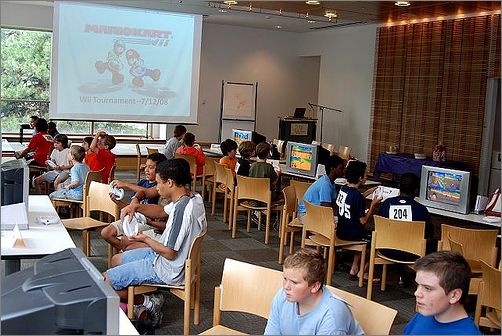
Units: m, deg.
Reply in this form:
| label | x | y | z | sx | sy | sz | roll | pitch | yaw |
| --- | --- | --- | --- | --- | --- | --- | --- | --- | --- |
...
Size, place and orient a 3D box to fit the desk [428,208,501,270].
| label | x | y | z | sx | sy | sz | roll | pitch | yaw |
| --- | --- | --- | --- | --- | --- | --- | --- | --- | --- |
| desk | 2.153 | 0.685 | 3.553 | 0.445 | 0.696 | 0.500 | 8 | 20 | 37 |

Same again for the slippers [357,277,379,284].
| label | x | y | z | sx | sy | sz | roll | pitch | yaw |
| --- | --- | --- | --- | --- | --- | --- | --- | --- | --- |
| slippers | 1.446 | 1.365 | 4.408 | 0.245 | 0.074 | 0.098 | 0 | 0 | 16 |

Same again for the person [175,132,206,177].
| label | x | y | z | sx | sy | sz | roll | pitch | yaw |
| --- | --- | --- | --- | --- | --- | --- | --- | --- | --- |
| person | -1.264 | -0.311 | 7.599 | 0.609 | 0.909 | 0.599 | -6 | 23 | -10 |

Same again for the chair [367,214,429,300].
| label | x | y | z | sx | sy | sz | roll | pitch | yaw |
| --- | --- | --- | --- | --- | --- | --- | --- | --- | --- |
| chair | 1.400 | 0.901 | 3.587 | 0.637 | 0.804 | 0.621 | 14 | -13 | -20 |

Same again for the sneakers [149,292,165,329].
| label | x | y | z | sx | sy | sz | roll | pitch | yaw |
| --- | --- | --- | --- | --- | --- | --- | --- | --- | --- |
| sneakers | -0.839 | 1.254 | 3.184 | 0.102 | 0.310 | 0.137 | 1 | 10 | 16 |

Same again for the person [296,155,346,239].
| label | x | y | z | sx | sy | sz | roll | pitch | yaw |
| --- | --- | --- | --- | --- | --- | --- | --- | --- | --- |
| person | 0.999 | 0.296 | 4.694 | 0.632 | 0.927 | 0.523 | 4 | 7 | -3 |

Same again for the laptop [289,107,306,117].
| label | x | y | z | sx | sy | sz | roll | pitch | yaw |
| --- | --- | --- | --- | --- | --- | --- | --- | --- | --- |
| laptop | 1.523 | -1.905 | 11.963 | 0.589 | 0.384 | 0.142 | -2 | 17 | -32 |

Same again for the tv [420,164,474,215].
| label | x | y | z | sx | sy | sz | roll | pitch | yaw |
| --- | --- | --- | --- | --- | --- | --- | --- | --- | --- |
| tv | 2.567 | 0.307 | 4.719 | 0.276 | 0.447 | 0.503 | -11 | 19 | -44 |

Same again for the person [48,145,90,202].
| label | x | y | z | sx | sy | sz | roll | pitch | yaw |
| --- | --- | --- | --- | --- | --- | --- | --- | --- | --- |
| person | -2.741 | 0.215 | 5.388 | 0.626 | 1.079 | 0.468 | 1 | 10 | -5 |

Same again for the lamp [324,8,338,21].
| label | x | y | z | sx | sy | sz | roll | pitch | yaw |
| --- | --- | --- | --- | --- | --- | --- | --- | --- | --- |
| lamp | 2.121 | -4.047 | 9.485 | 0.434 | 0.164 | 0.432 | 0 | 0 | -17 |

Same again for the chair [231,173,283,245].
| label | x | y | z | sx | sy | sz | roll | pitch | yaw |
| --- | --- | --- | --- | --- | --- | --- | --- | --- | --- |
| chair | 0.141 | 0.639 | 5.850 | 0.774 | 1.029 | 0.779 | 4 | 4 | 9 |

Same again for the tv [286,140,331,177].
| label | x | y | z | sx | sy | sz | roll | pitch | yaw |
| --- | --- | --- | --- | --- | --- | --- | --- | --- | --- |
| tv | 1.168 | -0.163 | 6.898 | 0.745 | 0.592 | 0.733 | 0 | 7 | -45 |

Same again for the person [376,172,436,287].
| label | x | y | z | sx | sy | sz | roll | pitch | yaw |
| --- | --- | --- | --- | --- | --- | --- | --- | --- | --- |
| person | 1.812 | 0.649 | 4.245 | 0.613 | 1.239 | 0.631 | 3 | 18 | 21 |

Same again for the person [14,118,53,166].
| label | x | y | z | sx | sy | sz | roll | pitch | yaw |
| --- | --- | --- | --- | --- | --- | --- | --- | --- | --- |
| person | -4.590 | -0.547 | 7.391 | 0.855 | 0.958 | 0.603 | 2 | 9 | -8 |

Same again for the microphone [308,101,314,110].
| label | x | y | z | sx | sy | sz | roll | pitch | yaw |
| --- | --- | --- | --- | --- | --- | --- | --- | --- | --- |
| microphone | 2.403 | -2.445 | 14.128 | 0.211 | 0.318 | 0.946 | 4 | 9 | 10 |

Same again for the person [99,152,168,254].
| label | x | y | z | sx | sy | sz | roll | pitch | yaw |
| --- | --- | --- | --- | --- | --- | --- | --- | --- | --- |
| person | -1.198 | 0.443 | 3.851 | 0.640 | 1.106 | 0.504 | 8 | 4 | -39 |

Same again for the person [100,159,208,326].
| label | x | y | z | sx | sy | sz | roll | pitch | yaw |
| --- | --- | --- | --- | --- | --- | --- | --- | --- | --- |
| person | -0.803 | 0.490 | 3.110 | 0.813 | 1.167 | 0.662 | 2 | 9 | -8 |
